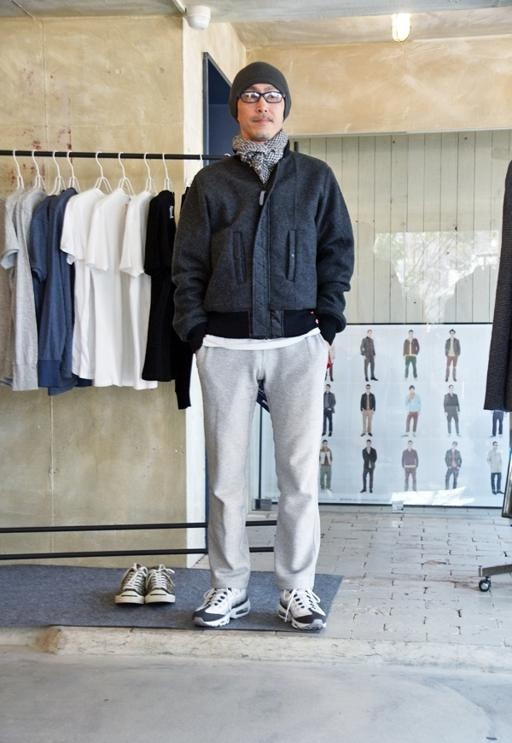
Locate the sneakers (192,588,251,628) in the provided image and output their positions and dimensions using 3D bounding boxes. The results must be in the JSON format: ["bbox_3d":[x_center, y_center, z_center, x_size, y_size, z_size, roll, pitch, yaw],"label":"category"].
[{"bbox_3d":[-0.105,0.723,2.373,0.077,0.089,0.192,-6,-11,25],"label":"sneakers"}]

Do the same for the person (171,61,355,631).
[{"bbox_3d":[0.017,0.025,2.387,0.579,1.500,0.234,-2,2,7],"label":"person"}]

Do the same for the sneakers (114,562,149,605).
[{"bbox_3d":[-0.435,0.755,2.751,0.103,0.086,0.246,-2,2,2],"label":"sneakers"}]

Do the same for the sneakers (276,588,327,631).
[{"bbox_3d":[0.134,0.726,2.371,0.076,0.084,0.167,7,-15,-22],"label":"sneakers"}]

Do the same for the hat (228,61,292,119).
[{"bbox_3d":[0.017,-0.853,2.419,0.182,0.138,0.174,-2,-11,0],"label":"hat"}]
